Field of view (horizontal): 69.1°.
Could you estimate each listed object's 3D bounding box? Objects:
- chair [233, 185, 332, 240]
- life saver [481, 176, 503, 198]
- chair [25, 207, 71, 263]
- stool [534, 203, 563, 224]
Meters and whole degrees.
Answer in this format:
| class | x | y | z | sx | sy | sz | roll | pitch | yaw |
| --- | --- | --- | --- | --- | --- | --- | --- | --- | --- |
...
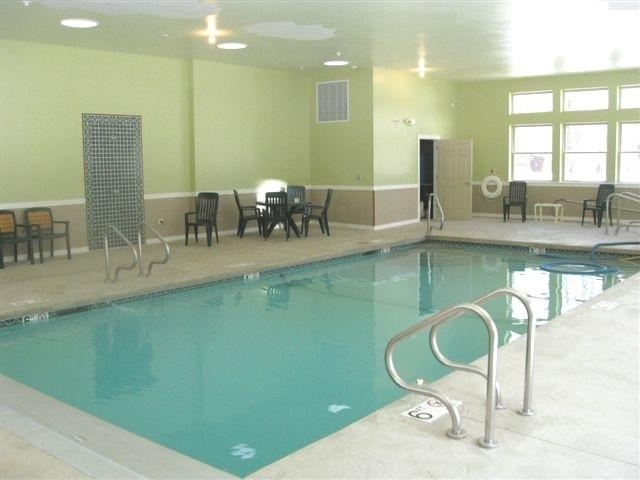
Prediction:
| class | x | y | z | sx | sy | sz | roll | pitch | yaw |
| --- | --- | --- | --- | --- | --- | --- | --- | --- | --- |
| chair | -0.821 | -0.675 | 11.025 | 1.701 | 0.751 | 1.606 | -3 | 7 | -11 |
| life saver | 5.267 | -1.626 | 14.184 | 0.618 | 0.680 | 0.309 | 3 | 13 | 18 |
| chair | -5.057 | -0.140 | 8.563 | 0.697 | 0.846 | 0.637 | 6 | 9 | 15 |
| stool | 6.546 | -0.841 | 13.300 | 0.814 | 0.486 | 0.875 | 5 | 12 | 26 |
